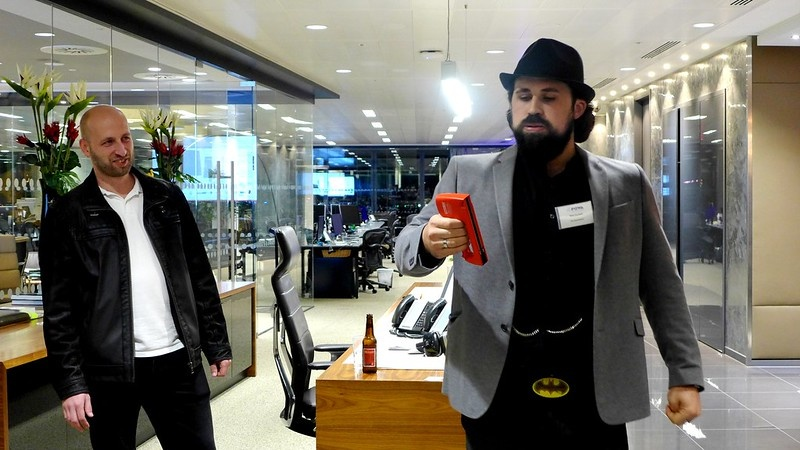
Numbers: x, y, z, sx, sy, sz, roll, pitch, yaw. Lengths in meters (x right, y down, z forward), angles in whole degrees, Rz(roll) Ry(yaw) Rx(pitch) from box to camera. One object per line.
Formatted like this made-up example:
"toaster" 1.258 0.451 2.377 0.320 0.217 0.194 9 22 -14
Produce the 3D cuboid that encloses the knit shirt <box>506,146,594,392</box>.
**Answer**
"knit shirt" 0.786 0.265 2.700 0.485 1.289 0.317 1 6 6

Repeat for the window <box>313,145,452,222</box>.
"window" -0.596 -1.609 18.078 3.674 1.883 0.128 1 6 -1

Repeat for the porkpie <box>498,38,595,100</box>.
"porkpie" 0.799 -0.858 2.681 0.331 0.158 0.450 5 -11 42

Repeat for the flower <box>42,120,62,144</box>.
"flower" -2.916 -0.777 4.287 0.194 0.177 0.189 1 -7 -26

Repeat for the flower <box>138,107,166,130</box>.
"flower" -2.560 -1.105 5.355 0.287 0.253 0.269 -2 -2 -13
